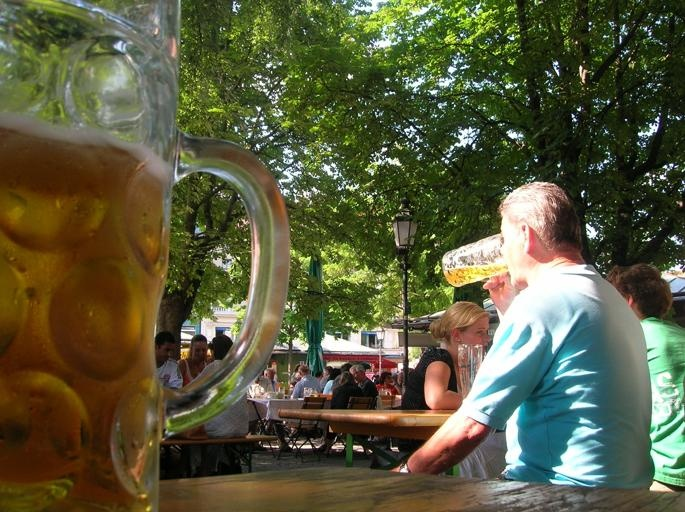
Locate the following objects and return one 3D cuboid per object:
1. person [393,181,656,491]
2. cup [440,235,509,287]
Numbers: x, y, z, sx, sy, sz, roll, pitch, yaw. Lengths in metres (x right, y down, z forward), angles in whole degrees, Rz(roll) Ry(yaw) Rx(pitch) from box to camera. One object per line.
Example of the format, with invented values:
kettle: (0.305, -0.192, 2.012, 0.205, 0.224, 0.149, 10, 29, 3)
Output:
person: (0.673, 0.206, 2.315, 0.731, 1.081, 0.465, 1, -10, 7)
cup: (0.704, 0.024, 3.575, 0.391, 0.221, 0.387, -11, 1, 0)
